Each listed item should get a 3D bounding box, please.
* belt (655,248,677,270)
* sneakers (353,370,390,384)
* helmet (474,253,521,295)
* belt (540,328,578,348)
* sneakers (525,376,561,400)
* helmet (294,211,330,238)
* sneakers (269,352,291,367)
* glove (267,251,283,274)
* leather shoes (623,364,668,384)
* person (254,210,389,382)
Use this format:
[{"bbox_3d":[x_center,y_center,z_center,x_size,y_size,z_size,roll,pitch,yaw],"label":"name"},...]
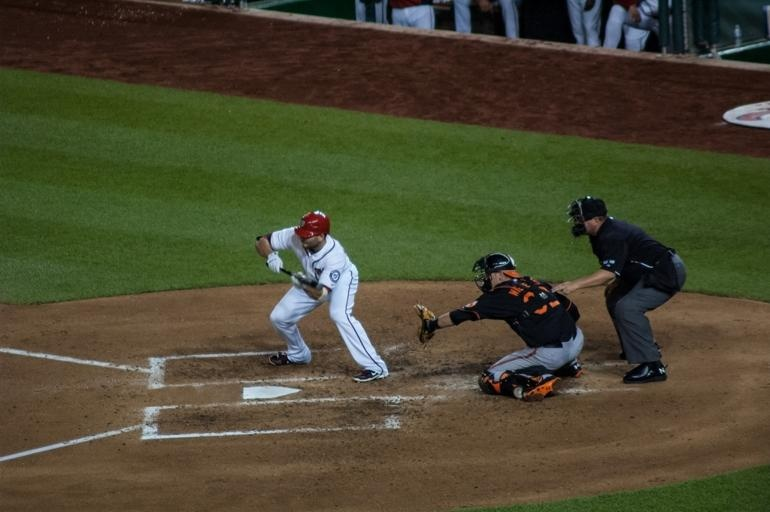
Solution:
[{"bbox_3d":[3.471,0.032,16.918,0.284,0.093,0.191,-26,8,11],"label":"belt"},{"bbox_3d":[-0.181,1.519,17.117,0.483,0.150,0.160,0,9,-8],"label":"sneakers"},{"bbox_3d":[1.369,0.177,16.956,0.664,0.440,0.506,14,9,13],"label":"helmet"},{"bbox_3d":[2.148,1.009,16.677,0.311,0.087,0.274,-21,0,-9],"label":"belt"},{"bbox_3d":[1.931,1.628,16.703,0.488,0.142,0.226,-16,-7,-5],"label":"sneakers"},{"bbox_3d":[-0.892,-0.398,16.922,0.484,0.216,0.292,-1,29,-9],"label":"helmet"},{"bbox_3d":[-1.337,1.335,17.452,0.336,0.099,0.120,4,9,0],"label":"sneakers"},{"bbox_3d":[-1.346,0.080,17.212,0.215,0.248,0.100,-33,-31,22],"label":"glove"},{"bbox_3d":[3.165,1.461,16.891,0.632,0.208,0.198,-3,31,-3],"label":"leather shoes"},{"bbox_3d":[-0.815,0.498,17.164,1.630,2.155,0.555,2,13,21],"label":"person"}]
